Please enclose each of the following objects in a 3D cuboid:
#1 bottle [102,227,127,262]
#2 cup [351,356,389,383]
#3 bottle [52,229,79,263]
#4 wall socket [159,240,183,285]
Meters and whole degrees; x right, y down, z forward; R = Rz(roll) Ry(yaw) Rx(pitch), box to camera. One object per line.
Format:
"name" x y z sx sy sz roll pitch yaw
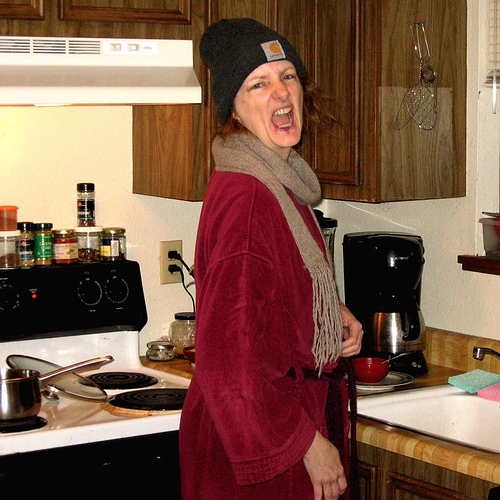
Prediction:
"bottle" -0.460 -0.012 1.611 0.098 0.112 0.101 -3 -1 16
"cup" 0.342 0.335 1.453 0.100 0.059 0.096 3 -7 0
"bottle" -0.568 -0.009 1.531 0.081 0.113 0.087 2 8 0
"wall socket" -0.288 0.047 1.843 0.090 0.155 0.017 -1 -2 -33
